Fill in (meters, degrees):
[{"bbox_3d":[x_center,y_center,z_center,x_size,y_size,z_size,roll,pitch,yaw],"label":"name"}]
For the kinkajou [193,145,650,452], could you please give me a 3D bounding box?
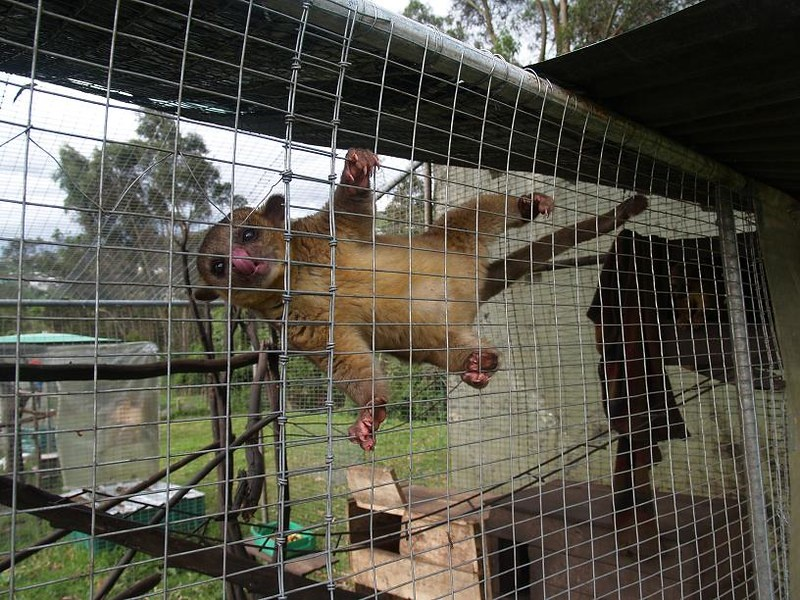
[{"bbox_3d":[0.385,-0.062,3.408,2.954,1.096,1.023,8,11,28],"label":"kinkajou"}]
